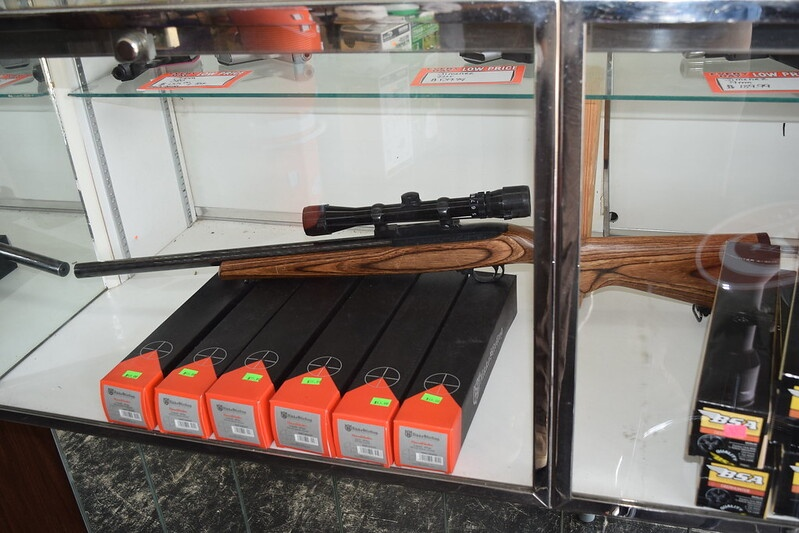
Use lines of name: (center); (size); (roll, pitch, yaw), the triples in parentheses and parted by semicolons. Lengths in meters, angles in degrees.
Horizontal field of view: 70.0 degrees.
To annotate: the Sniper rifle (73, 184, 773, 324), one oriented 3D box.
Sniper rifle: (0.067, -0.023, 1.189); (1.273, 0.313, 0.098); (-5, 35, 16)
